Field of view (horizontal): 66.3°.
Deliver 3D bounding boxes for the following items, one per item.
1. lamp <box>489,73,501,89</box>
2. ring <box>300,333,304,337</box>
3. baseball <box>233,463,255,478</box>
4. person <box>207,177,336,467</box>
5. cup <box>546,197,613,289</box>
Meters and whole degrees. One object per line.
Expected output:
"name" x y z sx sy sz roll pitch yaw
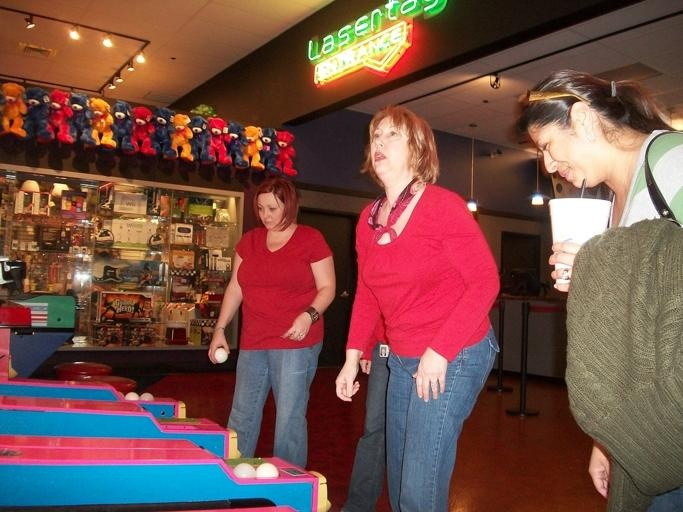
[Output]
"lamp" 2.221 -2.495 7.489 0.188 0.173 0.122 -12 -2 19
"ring" -0.198 0.385 2.578 0.017 0.023 0.007 22 37 -5
"baseball" -0.292 0.641 1.574 0.071 0.030 0.068 4 -2 -21
"person" -0.345 0.453 2.846 0.628 1.669 0.534 4 4 23
"cup" 0.579 -0.035 1.284 0.140 0.226 0.151 3 -2 0
